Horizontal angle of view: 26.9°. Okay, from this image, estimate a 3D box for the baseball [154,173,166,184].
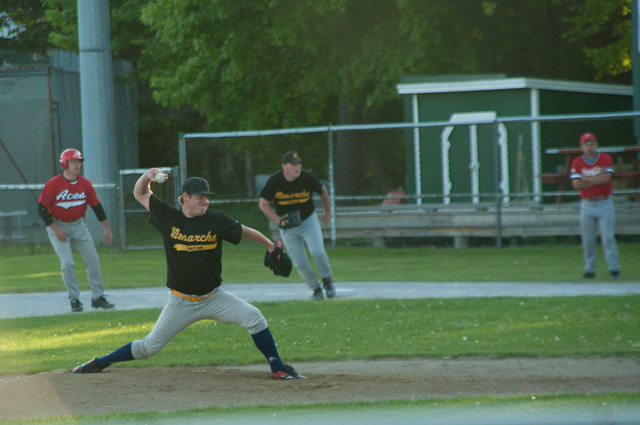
[{"bbox_3d":[-3.864,-0.832,32.342,0.182,0.245,0.177,1,9,-35],"label":"baseball"}]

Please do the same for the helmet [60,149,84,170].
[{"bbox_3d":[-6.621,-1.425,35.672,0.545,0.511,0.452,-4,5,-12],"label":"helmet"}]

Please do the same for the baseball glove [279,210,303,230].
[{"bbox_3d":[-0.798,0.191,35.555,0.615,0.496,0.225,-3,5,-2],"label":"baseball glove"}]
